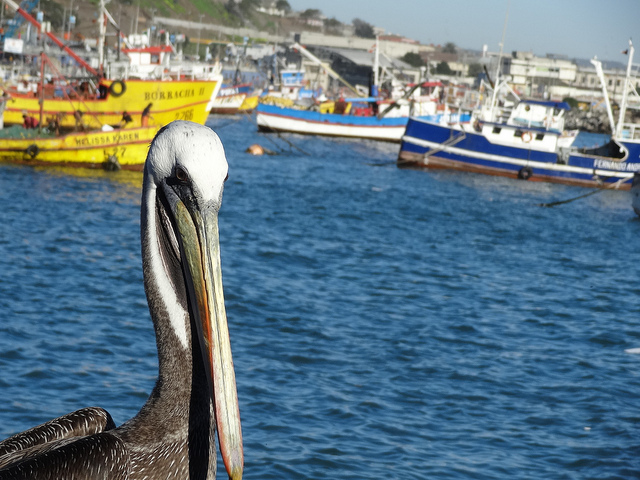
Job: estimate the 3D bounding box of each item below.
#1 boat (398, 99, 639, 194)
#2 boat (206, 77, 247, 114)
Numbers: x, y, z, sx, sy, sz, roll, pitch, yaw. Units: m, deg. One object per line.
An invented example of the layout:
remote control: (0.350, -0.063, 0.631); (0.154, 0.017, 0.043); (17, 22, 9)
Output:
boat: (8.952, -4.220, 66.202); (12.130, 3.805, 4.671); (5, 10, 1)
boat: (-5.205, -8.958, 88.315); (1.437, 2.102, 5.949); (9, -1, -15)
